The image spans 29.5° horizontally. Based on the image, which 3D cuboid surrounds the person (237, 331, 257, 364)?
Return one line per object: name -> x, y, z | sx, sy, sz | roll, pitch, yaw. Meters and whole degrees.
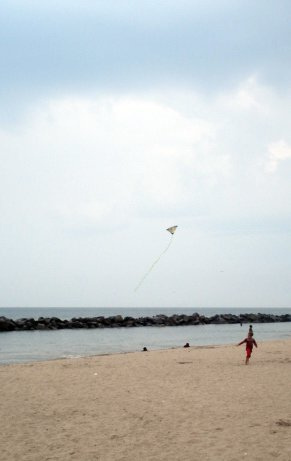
person -> 3.229, 3.703, 17.615 | 0.499, 1.029, 1.768 | -1, -7, 11
